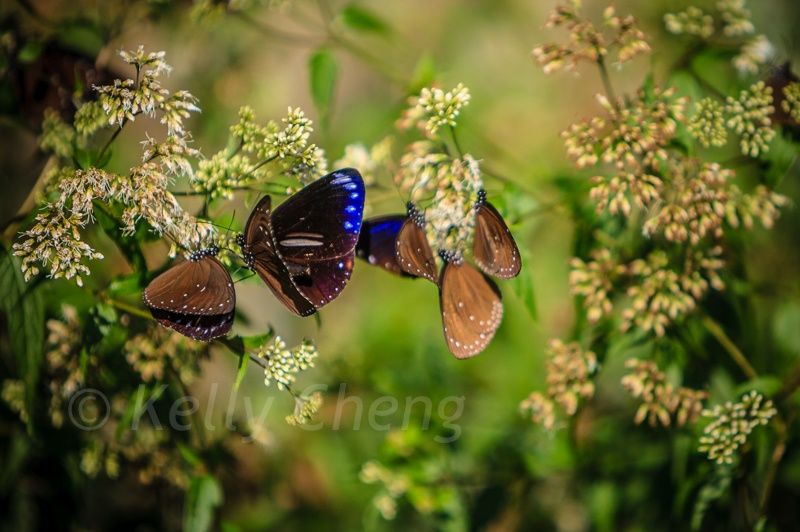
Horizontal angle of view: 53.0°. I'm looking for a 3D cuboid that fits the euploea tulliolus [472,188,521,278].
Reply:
[{"bbox_3d":[0.206,-0.078,1.848,0.125,0.193,0.055,-31,-13,38],"label":"euploea tulliolus"}]
